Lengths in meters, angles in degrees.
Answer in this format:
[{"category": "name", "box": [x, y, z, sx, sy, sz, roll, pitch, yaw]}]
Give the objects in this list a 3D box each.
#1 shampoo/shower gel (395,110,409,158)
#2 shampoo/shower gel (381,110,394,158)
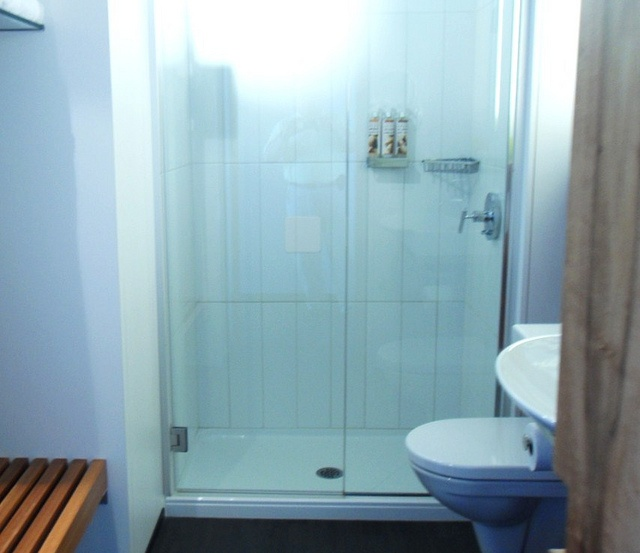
[{"category": "shampoo/shower gel", "box": [0.293, -0.504, 2.061, 0.045, 0.142, 0.033, -1, 3, 7]}, {"category": "shampoo/shower gel", "box": [0.246, -0.505, 2.059, 0.052, 0.140, 0.029, -1, 3, 4]}]
